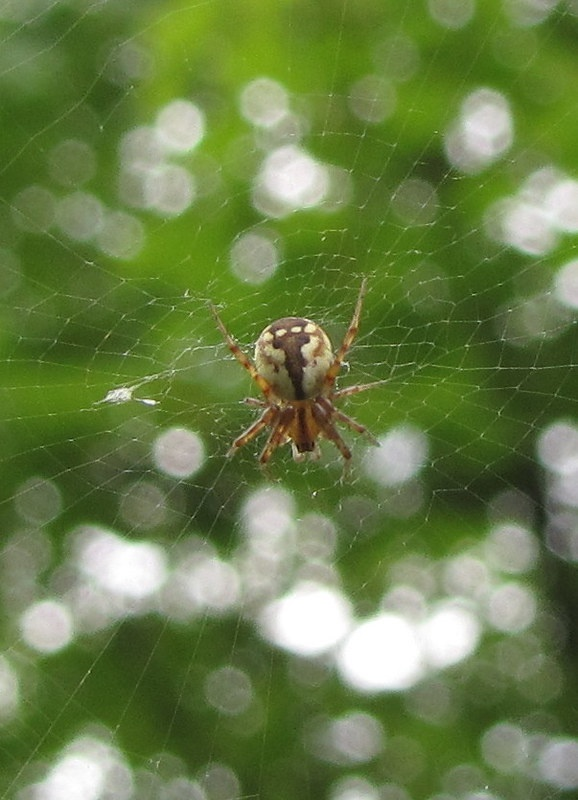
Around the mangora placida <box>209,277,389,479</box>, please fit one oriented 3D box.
[{"bbox_3d":[0.094,-0.089,5.003,0.791,1.202,1.312,7,4,41],"label":"mangora placida"}]
